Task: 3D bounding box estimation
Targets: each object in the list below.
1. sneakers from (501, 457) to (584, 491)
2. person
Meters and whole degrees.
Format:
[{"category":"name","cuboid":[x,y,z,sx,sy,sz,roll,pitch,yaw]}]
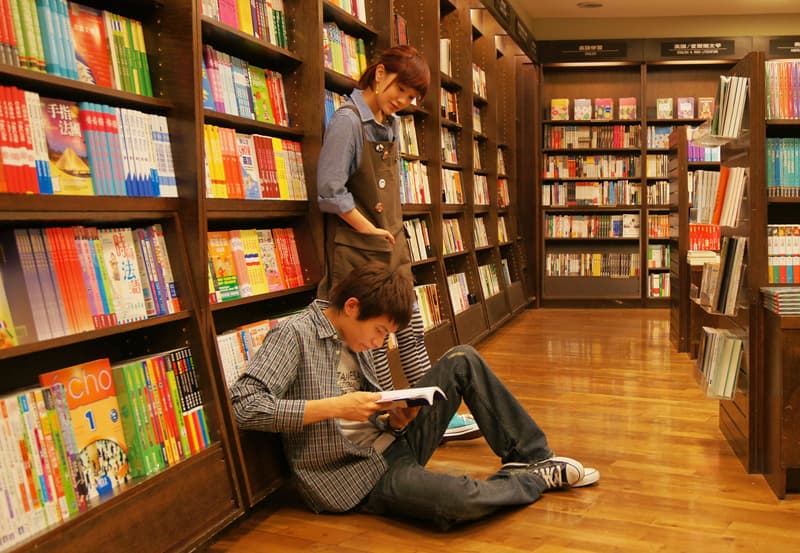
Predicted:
[{"category":"sneakers","cuboid":[0.614,0.846,2.468,0.383,0.148,0.155,-3,15,0]},{"category":"person","cuboid":[0.131,0.481,2.495,1.400,1.065,0.908,-3,6,6]}]
